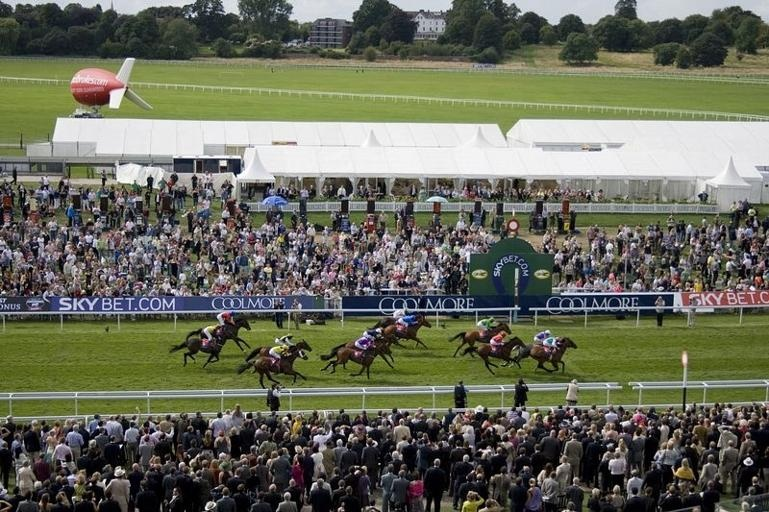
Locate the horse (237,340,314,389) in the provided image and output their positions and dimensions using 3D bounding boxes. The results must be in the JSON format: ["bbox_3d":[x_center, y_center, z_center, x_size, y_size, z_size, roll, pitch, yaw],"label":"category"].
[{"bbox_3d":[-7.492,6.843,135.764,6.832,3.999,3.575,3,-22,-1],"label":"horse"}]

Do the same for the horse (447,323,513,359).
[{"bbox_3d":[6.655,5.999,138.365,4.112,2.715,1.000,0,-16,11],"label":"horse"}]

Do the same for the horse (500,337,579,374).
[{"bbox_3d":[10.936,6.919,137.556,4.633,2.560,1.001,3,8,-6],"label":"horse"}]

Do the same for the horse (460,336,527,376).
[{"bbox_3d":[7.418,6.906,137.695,4.502,2.921,1.005,2,14,6],"label":"horse"}]
